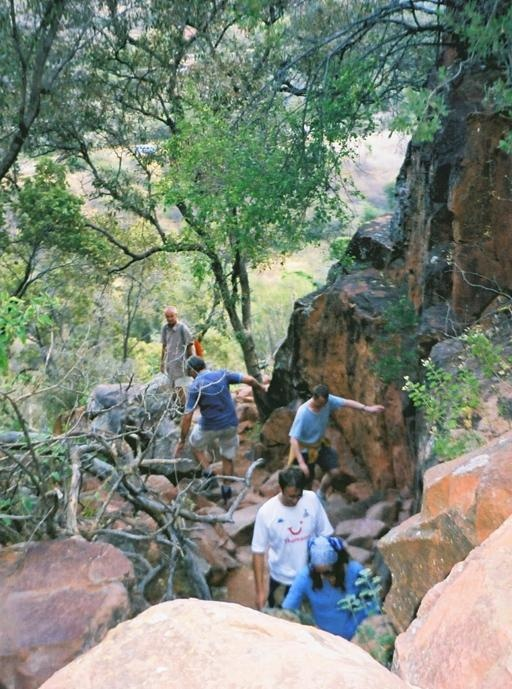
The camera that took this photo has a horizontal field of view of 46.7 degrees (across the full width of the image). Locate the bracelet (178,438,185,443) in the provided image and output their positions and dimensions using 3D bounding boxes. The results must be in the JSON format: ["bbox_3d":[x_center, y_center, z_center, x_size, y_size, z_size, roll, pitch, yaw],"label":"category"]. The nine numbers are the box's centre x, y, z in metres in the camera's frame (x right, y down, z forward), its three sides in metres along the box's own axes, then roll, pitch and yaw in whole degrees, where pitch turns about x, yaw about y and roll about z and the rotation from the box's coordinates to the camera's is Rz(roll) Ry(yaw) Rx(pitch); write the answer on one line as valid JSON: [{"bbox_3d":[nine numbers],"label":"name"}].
[{"bbox_3d":[-0.768,0.991,6.176,0.061,0.061,0.059,-3,46,8],"label":"bracelet"}]

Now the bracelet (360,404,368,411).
[{"bbox_3d":[1.074,0.627,5.879,0.059,0.026,0.078,-5,23,-24],"label":"bracelet"}]

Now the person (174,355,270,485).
[{"bbox_3d":[-0.464,0.795,6.138,0.645,1.386,1.029,-1,3,18],"label":"person"}]

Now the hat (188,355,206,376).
[{"bbox_3d":[-0.589,0.220,5.865,0.179,0.215,0.176,-2,3,-7],"label":"hat"}]
